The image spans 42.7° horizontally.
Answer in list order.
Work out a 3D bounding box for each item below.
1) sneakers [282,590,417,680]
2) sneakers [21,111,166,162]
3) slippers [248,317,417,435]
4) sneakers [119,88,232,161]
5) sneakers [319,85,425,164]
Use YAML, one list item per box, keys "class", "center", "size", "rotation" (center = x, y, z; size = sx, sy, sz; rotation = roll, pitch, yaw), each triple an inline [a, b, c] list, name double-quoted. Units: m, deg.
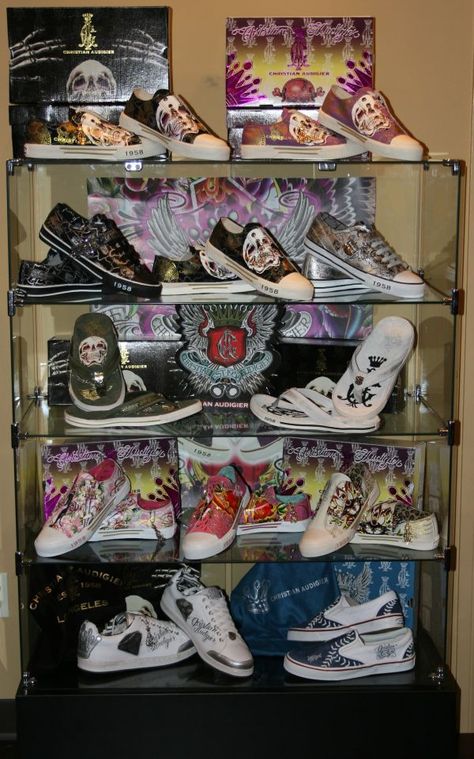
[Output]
- class: "sneakers"
  center: [0.253, 0.598, 1.387]
  size: [0.231, 0.090, 0.195]
  rotation: [-1, 1, -3]
- class: "sneakers"
  center: [-0.303, -0.489, 1.272]
  size: [0.314, 0.134, 0.122]
  rotation: [-1, 17, -5]
- class: "slippers"
  center: [0.228, 0.019, 1.380]
  size: [0.316, 0.089, 0.270]
  rotation: [-10, 45, -8]
- class: "sneakers"
  center: [-0.132, -0.534, 1.303]
  size: [0.298, 0.111, 0.111]
  rotation: [34, 51, 23]
- class: "sneakers"
  center: [0.268, -0.524, 1.235]
  size: [0.220, 0.156, 0.061]
  rotation: [10, 16, 36]
